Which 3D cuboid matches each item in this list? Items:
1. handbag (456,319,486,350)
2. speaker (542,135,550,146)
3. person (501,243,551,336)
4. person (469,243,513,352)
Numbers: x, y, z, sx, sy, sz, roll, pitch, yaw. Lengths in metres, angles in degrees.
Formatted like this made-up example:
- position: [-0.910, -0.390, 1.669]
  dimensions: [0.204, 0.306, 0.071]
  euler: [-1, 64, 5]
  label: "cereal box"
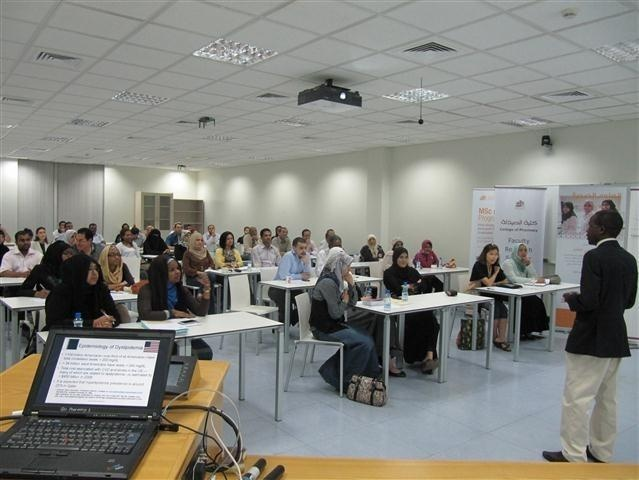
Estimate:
- position: [2.120, 1.297, 6.370]
  dimensions: [0.307, 0.384, 0.307]
  euler: [-5, -11, 28]
  label: "handbag"
- position: [4.086, -1.775, 8.306]
  dimensions: [0.187, 0.200, 0.213]
  euler: [5, 7, 36]
  label: "speaker"
- position: [3.115, 0.769, 7.082]
  dimensions: [0.614, 1.408, 0.715]
  euler: [2, -4, -32]
  label: "person"
- position: [2.496, 0.753, 6.617]
  dimensions: [0.553, 1.369, 0.709]
  euler: [-4, 8, 7]
  label: "person"
